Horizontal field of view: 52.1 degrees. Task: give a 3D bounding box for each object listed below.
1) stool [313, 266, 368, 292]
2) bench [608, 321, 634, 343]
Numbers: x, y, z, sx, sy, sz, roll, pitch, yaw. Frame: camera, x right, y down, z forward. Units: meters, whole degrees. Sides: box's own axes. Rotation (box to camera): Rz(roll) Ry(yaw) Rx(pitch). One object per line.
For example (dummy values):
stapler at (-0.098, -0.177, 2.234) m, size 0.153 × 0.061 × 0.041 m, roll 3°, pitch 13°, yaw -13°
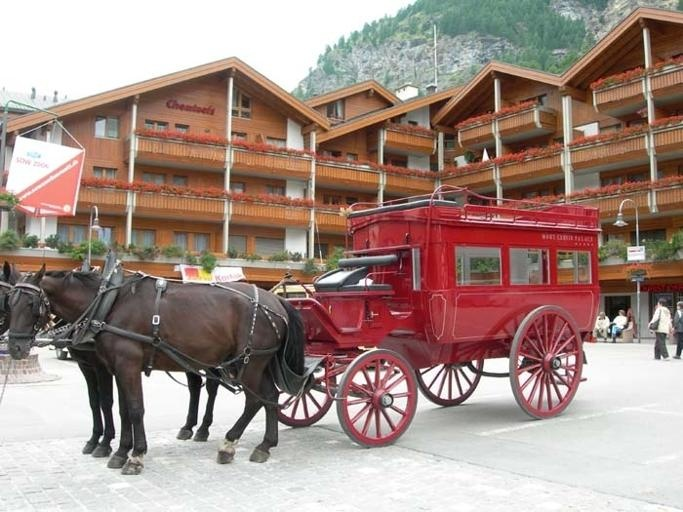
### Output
stool at (0.106, 0.408, 12.036) m, size 0.789 × 0.413 × 1.244 m, roll 0°, pitch -1°, yaw -34°
bench at (13.892, 3.736, 34.343) m, size 1.327 × 0.940 × 1.014 m, roll 1°, pitch -6°, yaw 10°
